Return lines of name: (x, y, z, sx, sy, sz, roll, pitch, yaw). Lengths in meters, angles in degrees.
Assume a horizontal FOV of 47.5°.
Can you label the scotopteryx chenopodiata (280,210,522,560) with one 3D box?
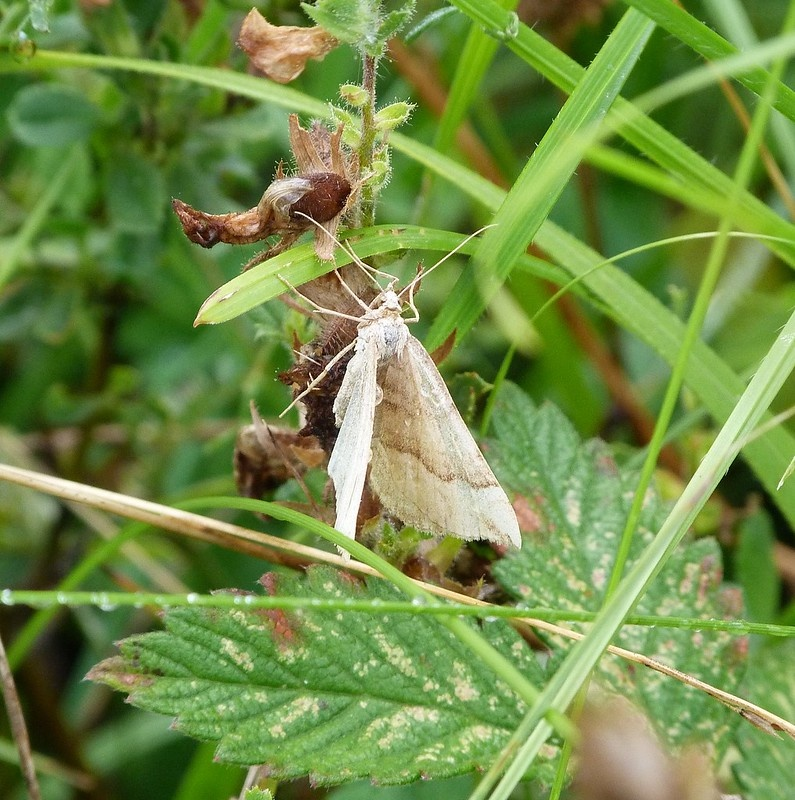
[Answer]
scotopteryx chenopodiata: (0.014, 0.000, 1.486, 0.386, 0.519, 0.181, -8, -8, 35)
